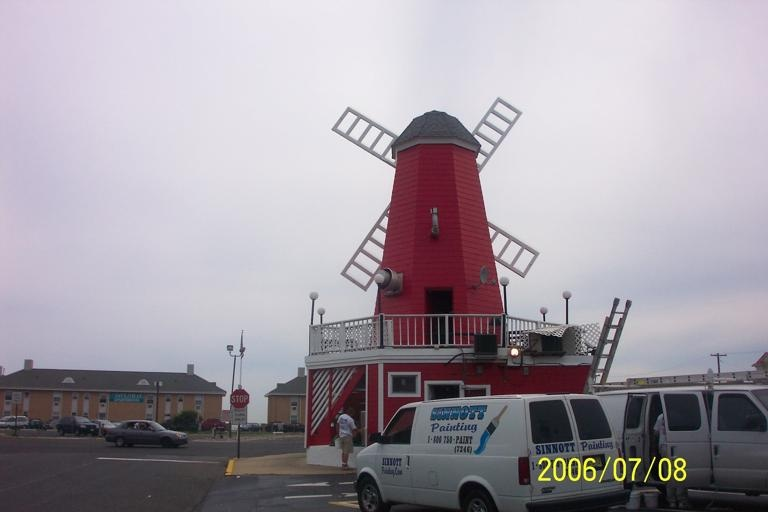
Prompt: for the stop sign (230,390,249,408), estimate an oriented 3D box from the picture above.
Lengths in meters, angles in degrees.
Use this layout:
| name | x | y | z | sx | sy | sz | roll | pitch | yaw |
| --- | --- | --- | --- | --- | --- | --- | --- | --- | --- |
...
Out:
| name | x | y | z | sx | sy | sz | roll | pitch | yaw |
| --- | --- | --- | --- | --- | --- | --- | --- | --- | --- |
| stop sign | -5.426 | 5.330 | 27.107 | 0.565 | 0.736 | 0.492 | 7 | -15 | -22 |
